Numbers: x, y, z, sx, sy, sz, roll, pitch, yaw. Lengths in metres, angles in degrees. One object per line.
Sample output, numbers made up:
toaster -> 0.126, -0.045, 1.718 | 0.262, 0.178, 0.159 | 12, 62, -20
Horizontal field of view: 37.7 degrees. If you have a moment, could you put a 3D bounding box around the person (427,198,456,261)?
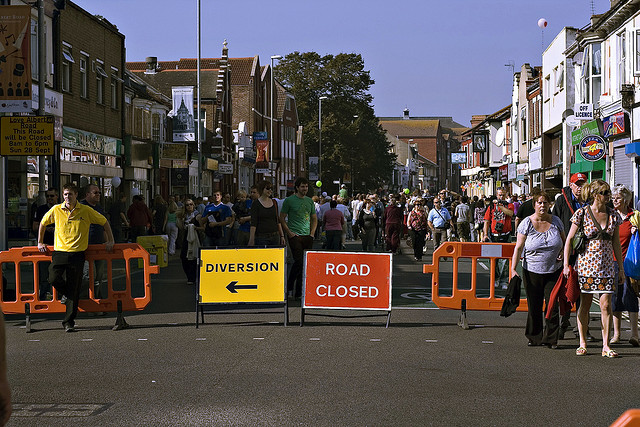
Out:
person -> 3.868, 0.460, 30.058 | 0.801, 1.950, 0.833 | -4, 11, 9

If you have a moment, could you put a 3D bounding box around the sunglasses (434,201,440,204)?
sunglasses -> 3.743, -0.373, 29.920 | 0.143, 0.088, 0.127 | 0, 7, -2

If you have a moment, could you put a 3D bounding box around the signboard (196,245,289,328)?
signboard -> -1.446, 1.342, 17.483 | 1.251, 1.161, 0.483 | 0, 3, 1

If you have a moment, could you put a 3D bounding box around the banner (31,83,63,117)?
banner -> -8.684, -3.613, 29.727 | 0.044, 0.720, 1.967 | -4, -8, 21

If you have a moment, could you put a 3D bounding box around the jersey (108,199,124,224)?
jersey -> -6.331, -0.048, 29.217 | 0.626, 0.873, 0.321 | 3, 5, 23

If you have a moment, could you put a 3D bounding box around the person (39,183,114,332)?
person -> -4.427, 0.781, 16.975 | 1.216, 2.578, 0.670 | -2, 6, -19

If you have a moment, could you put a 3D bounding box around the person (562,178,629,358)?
person -> 4.546, 0.842, 15.466 | 1.018, 2.840, 1.437 | 2, 6, 20

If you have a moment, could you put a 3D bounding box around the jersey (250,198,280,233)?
jersey -> -1.158, 0.047, 20.117 | 0.767, 0.823, 0.423 | -1, -3, -41

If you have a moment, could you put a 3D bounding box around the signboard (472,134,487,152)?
signboard -> 13.248, -5.949, 77.811 | 1.354, 2.112, 0.193 | 0, -3, 12

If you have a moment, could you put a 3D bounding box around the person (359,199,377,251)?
person -> 1.513, 0.543, 30.062 | 0.499, 1.429, 1.716 | 0, 6, 3

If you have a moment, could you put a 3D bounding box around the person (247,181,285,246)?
person -> -1.148, 0.020, 19.984 | 0.655, 1.423, 1.407 | 2, 7, 20

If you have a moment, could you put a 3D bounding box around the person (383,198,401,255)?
person -> 2.418, 0.440, 31.308 | 0.546, 1.833, 0.958 | 0, 6, 4

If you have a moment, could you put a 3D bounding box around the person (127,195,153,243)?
person -> -5.685, 0.218, 29.696 | 0.728, 1.833, 0.567 | -1, 19, -14

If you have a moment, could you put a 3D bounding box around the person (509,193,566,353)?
person -> 3.668, 0.928, 15.737 | 0.807, 2.546, 0.651 | 1, 6, 15

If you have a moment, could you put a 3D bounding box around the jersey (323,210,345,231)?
jersey -> 0.375, 0.154, 25.908 | 0.633, 0.813, 0.435 | 1, -1, 1

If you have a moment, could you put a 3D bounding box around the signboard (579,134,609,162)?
signboard -> 8.232, -1.978, 28.360 | 0.811, 1.045, 0.094 | -9, -33, 18

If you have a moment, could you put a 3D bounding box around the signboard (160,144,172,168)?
signboard -> -8.198, -3.105, 49.618 | 0.383, 1.201, 1.023 | 2, 7, 25

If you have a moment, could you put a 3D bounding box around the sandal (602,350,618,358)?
sandal -> 4.619, 2.225, 14.955 | 0.230, 0.105, 0.143 | 2, 7, 16

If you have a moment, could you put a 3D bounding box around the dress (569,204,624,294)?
dress -> 4.524, 0.892, 15.284 | 0.852, 2.132, 0.522 | 0, -3, 15

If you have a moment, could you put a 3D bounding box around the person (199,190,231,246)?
person -> -2.644, 0.130, 23.682 | 0.761, 1.351, 0.934 | -1, 6, -12

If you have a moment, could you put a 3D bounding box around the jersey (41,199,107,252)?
jersey -> -4.462, 0.196, 17.005 | 1.149, 0.976, 0.420 | 0, -3, -11

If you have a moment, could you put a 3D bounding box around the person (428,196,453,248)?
person -> 3.875, 0.414, 30.168 | 0.774, 2.038, 0.621 | -4, 23, 6

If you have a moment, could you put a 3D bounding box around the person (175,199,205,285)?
person -> -3.271, 0.697, 23.480 | 0.766, 2.107, 0.817 | 1, -1, -23

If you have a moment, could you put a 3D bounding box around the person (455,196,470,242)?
person -> 4.669, 0.174, 30.577 | 0.538, 1.662, 0.521 | -6, 17, -3

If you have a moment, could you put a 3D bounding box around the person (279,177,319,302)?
person -> -0.461, 0.536, 20.106 | 0.782, 2.651, 0.824 | 0, 5, -2

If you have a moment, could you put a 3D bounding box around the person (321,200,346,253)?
person -> 0.345, 0.435, 25.943 | 0.606, 1.728, 0.506 | 4, 18, 6

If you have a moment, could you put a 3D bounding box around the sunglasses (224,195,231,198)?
sunglasses -> -2.684, -0.514, 27.236 | 0.124, 0.111, 0.130 | 0, -1, 9

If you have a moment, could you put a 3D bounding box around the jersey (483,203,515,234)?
jersey -> 4.792, 0.103, 25.076 | 0.857, 0.920, 0.484 | 0, -6, -2

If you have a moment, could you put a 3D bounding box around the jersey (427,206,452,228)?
jersey -> 3.824, 0.112, 30.086 | 0.678, 0.598, 0.491 | 1, 6, 8

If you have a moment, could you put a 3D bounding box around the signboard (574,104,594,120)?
signboard -> 9.618, -3.747, 34.226 | 0.737, 0.604, 0.107 | -1, 9, -11

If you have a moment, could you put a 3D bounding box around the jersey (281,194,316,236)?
jersey -> -0.440, 0.026, 20.218 | 0.761, 0.919, 0.465 | 4, -3, -16

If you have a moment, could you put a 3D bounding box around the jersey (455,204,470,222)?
jersey -> 4.618, -0.023, 30.423 | 0.412, 0.558, 0.250 | 0, 6, 1

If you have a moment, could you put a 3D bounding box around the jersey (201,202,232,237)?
jersey -> -2.621, 0.163, 23.657 | 0.812, 0.894, 0.451 | 4, 5, 21
